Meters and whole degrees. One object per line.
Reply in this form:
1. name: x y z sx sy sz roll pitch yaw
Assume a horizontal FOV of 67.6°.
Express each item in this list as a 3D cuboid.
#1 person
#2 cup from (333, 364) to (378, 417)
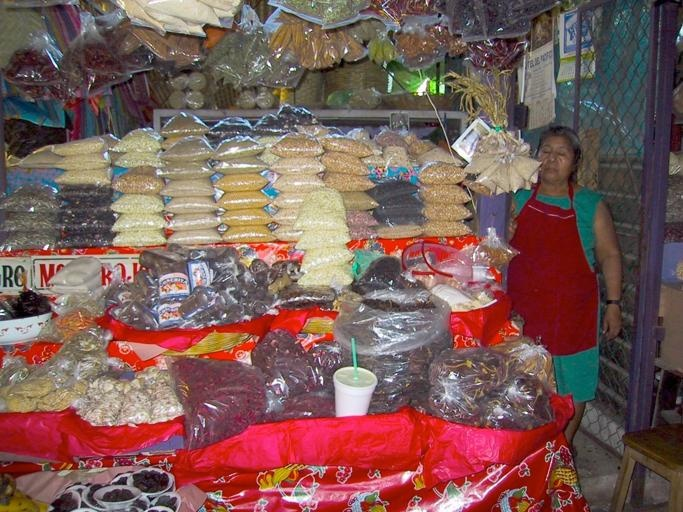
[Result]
1. person: 1.342 0.326 3.113 0.630 1.565 0.323 3 13 26
2. cup: 0.050 0.504 1.928 0.160 0.187 0.153 -3 10 0
